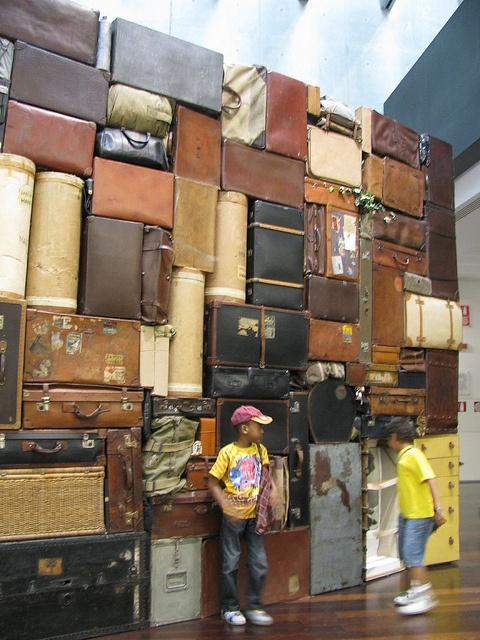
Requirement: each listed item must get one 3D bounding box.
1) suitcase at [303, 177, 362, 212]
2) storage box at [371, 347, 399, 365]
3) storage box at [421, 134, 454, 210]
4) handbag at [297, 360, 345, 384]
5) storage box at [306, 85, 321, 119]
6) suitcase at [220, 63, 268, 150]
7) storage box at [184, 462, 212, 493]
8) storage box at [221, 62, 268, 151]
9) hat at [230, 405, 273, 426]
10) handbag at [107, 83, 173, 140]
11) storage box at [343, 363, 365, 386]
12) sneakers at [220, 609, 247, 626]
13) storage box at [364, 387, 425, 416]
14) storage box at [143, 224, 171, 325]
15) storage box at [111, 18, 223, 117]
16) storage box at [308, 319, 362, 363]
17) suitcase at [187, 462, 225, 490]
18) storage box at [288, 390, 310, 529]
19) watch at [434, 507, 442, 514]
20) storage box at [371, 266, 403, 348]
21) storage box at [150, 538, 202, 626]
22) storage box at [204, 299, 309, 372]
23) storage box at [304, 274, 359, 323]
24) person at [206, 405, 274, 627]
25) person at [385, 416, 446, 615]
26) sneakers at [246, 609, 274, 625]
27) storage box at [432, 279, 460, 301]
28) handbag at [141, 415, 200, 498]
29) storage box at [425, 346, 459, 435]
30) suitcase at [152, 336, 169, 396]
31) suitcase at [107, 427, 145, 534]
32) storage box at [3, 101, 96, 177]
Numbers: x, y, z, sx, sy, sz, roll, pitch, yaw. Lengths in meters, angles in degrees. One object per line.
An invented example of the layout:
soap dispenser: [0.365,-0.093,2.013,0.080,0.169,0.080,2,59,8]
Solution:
suitcase: [0.695,-0.944,4.244,0.528,0.203,0.054,7,-12,-31]
storage box: [1.152,0.277,4.384,0.329,0.158,0.045,9,-13,-41]
storage box: [1.765,-1.303,5.011,0.309,0.701,0.618,-2,5,12]
handbag: [0.608,0.382,4.022,0.396,0.178,0.080,8,-13,-37]
storage box: [0.557,-1.670,4.277,0.157,0.234,0.078,9,-13,-42]
suitcase: [0.012,-1.471,3.864,0.435,0.523,0.112,4,-2,-37]
storage box: [-0.244,0.888,3.238,0.126,0.155,0.207,0,-4,-8]
storage box: [0.007,-1.492,3.933,0.445,0.498,0.503,3,35,-9]
hat: [0.061,0.494,3.013,0.159,0.094,0.112,-1,-1,13]
handbag: [-0.611,-1.263,3.378,0.302,0.242,0.260,2,37,-26]
storage box: [0.864,0.404,4.176,0.187,0.171,0.066,9,-13,-41]
sneakers: [-0.031,1.570,2.961,0.050,0.075,0.145,5,-16,-25]
storage box: [1.235,0.636,4.375,0.676,0.216,0.090,9,-13,-40]
storage box: [-0.482,-0.264,3.248,0.180,0.562,0.075,3,-10,-16]
storage box: [-0.540,-1.568,3.655,0.762,0.486,0.383,8,-3,-33]
storage box: [0.688,0.153,4.083,0.464,0.371,0.274,5,-8,-34]
suitcase: [-0.227,0.870,3.242,0.197,0.162,0.144,1,-2,-10]
storage box: [0.405,0.911,3.725,0.216,0.872,0.093,9,-13,-44]
watch: [1.072,1.018,3.024,0.024,0.021,0.031,-2,6,-45]
storage box: [1.180,-0.107,4.448,0.446,0.560,0.131,6,-4,-41]
storage box: [-0.367,1.449,3.085,0.317,0.513,0.274,8,-16,-34]
storage box: [0.110,0.117,3.632,0.663,0.514,0.397,6,-11,-29]
storage box: [0.679,-0.153,4.142,0.471,0.374,0.282,5,-5,-32]
person: [0.020,1.048,3.046,0.351,1.147,0.389,-1,-10,4]
person: [1.021,1.113,3.237,0.281,1.094,0.467,-3,-10,16]
sneakers: [0.099,1.579,2.989,0.150,0.068,0.115,-1,-11,4]
storage box: [1.819,-0.269,4.922,0.271,0.220,0.163,2,-4,-34]
handbag: [-0.393,0.762,3.188,0.345,0.429,0.112,8,-13,-39]
storage box: [1.696,0.584,4.688,0.431,0.658,0.178,6,-5,-38]
suitcase: [-0.463,0.258,3.209,0.096,0.310,0.294,1,-4,-8]
suitcase: [-0.620,0.856,2.979,0.220,0.764,0.441,1,-6,-15]
storage box: [-1.034,-0.979,3.047,0.469,0.385,0.288,12,-9,-31]
